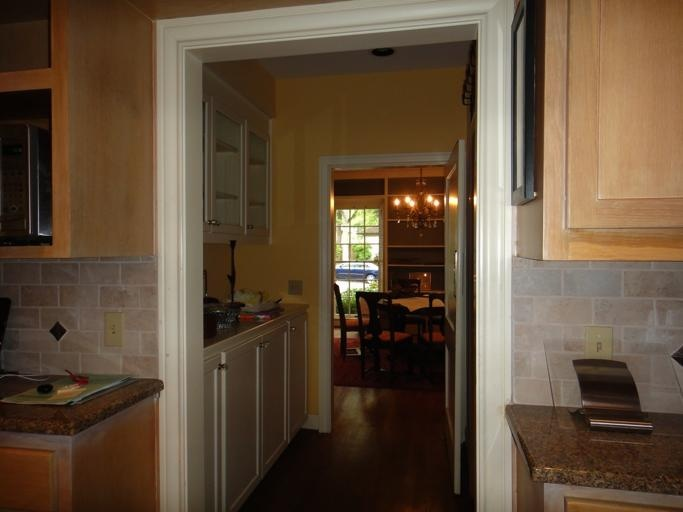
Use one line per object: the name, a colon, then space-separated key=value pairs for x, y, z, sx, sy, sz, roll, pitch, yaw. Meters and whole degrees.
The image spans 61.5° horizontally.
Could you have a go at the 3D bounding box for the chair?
chair: x=0.593 y=0.857 z=6.015 sx=0.994 sy=0.549 sz=1.047 roll=2 pitch=4 yaw=17

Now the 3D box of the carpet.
carpet: x=0.461 y=1.095 z=6.026 sx=1.210 sy=0.291 sz=1.485 roll=1 pitch=5 yaw=10

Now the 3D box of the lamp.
lamp: x=1.046 y=-0.762 z=7.844 sx=0.731 sy=1.018 sz=0.778 roll=1 pitch=8 yaw=6
